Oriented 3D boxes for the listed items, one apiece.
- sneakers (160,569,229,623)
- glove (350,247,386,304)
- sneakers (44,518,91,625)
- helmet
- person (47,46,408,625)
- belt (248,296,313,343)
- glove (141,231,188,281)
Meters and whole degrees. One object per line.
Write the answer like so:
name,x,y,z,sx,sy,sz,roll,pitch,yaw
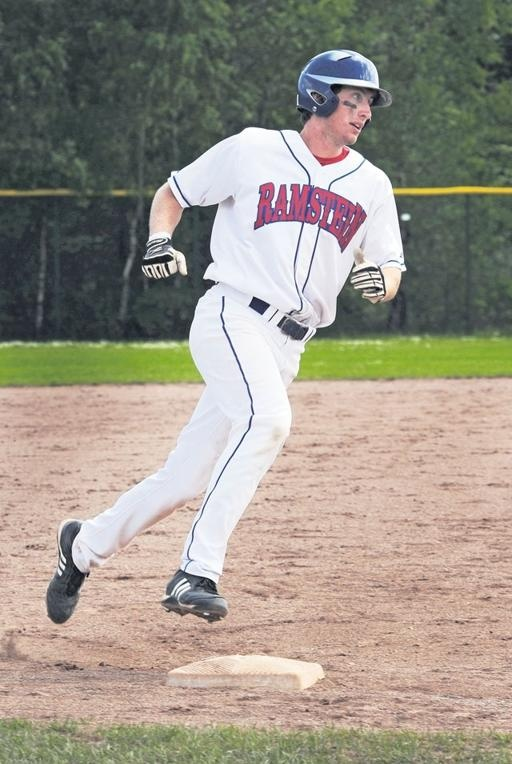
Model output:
sneakers,-0.189,0.658,3.930,0.099,0.139,0.273,44,-24,-22
glove,0.352,-0.350,4.170,0.101,0.158,0.071,26,-51,-38
sneakers,-0.649,0.654,4.424,0.156,0.352,0.129,9,8,21
helmet,0.287,-0.986,4.229,0.307,0.217,0.249,2,2,32
person,-0.024,-0.113,4.301,0.945,2.061,0.850,-1,9,-41
belt,0.077,-0.216,4.075,0.166,0.046,0.137,26,-13,23
glove,-0.285,-0.406,4.143,0.133,0.159,0.079,-2,-27,7
